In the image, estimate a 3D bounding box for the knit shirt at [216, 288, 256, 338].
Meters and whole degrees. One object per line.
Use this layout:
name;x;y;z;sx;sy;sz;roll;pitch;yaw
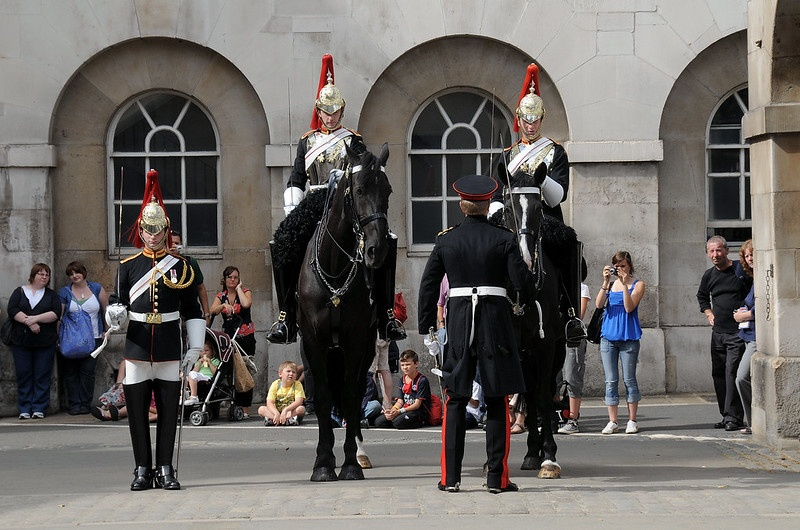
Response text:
knit shirt;-2.588;0.783;24.241;0.447;0.741;0.506;-4;-4;33

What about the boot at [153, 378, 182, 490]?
boot;-2.908;2.130;19.312;0.342;1.340;0.307;-1;-4;-5

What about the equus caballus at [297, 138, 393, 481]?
equus caballus;-0.694;0.628;19.375;0.961;4.174;1.691;0;-4;-19

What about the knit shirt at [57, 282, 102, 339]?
knit shirt;-5.062;0.778;24.416;0.851;1.049;0.582;-1;-8;-24

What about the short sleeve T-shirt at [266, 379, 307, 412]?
short sleeve T-shirt;-1.722;2.008;23.522;0.753;0.672;0.404;2;-12;-4

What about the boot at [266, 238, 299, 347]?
boot;-1.514;0.346;20.166;0.452;1.358;0.433;-1;-4;-6

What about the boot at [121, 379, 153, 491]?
boot;-3.261;2.143;19.293;0.338;1.342;0.280;-1;-4;-9

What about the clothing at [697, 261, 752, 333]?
clothing;4.808;0.502;22.881;1.027;1.156;0.496;-7;-13;34
